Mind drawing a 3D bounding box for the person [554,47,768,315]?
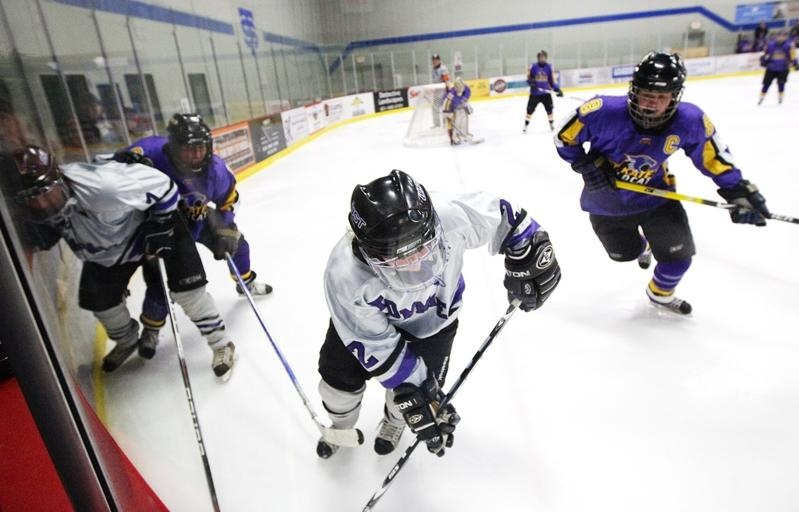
[{"bbox_3d":[1.788,-0.503,4.051,1.356,1.796,0.450,13,30,36],"label":"person"}]

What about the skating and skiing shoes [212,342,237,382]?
[{"bbox_3d":[-1.218,0.752,3.964,0.115,0.127,0.295,-10,43,6],"label":"skating and skiing shoes"}]

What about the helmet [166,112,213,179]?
[{"bbox_3d":[-1.488,-0.804,3.993,0.309,0.373,0.380,-9,25,-39],"label":"helmet"}]

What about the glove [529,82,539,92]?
[{"bbox_3d":[2.235,-2.820,9.475,0.090,0.128,0.209,-13,24,-16],"label":"glove"}]

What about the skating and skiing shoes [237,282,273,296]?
[{"bbox_3d":[-1.188,0.277,4.592,0.176,0.113,0.055,-5,59,-9],"label":"skating and skiing shoes"}]

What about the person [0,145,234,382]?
[{"bbox_3d":[-1.653,0.133,3.425,0.531,1.768,1.124,7,26,26],"label":"person"}]

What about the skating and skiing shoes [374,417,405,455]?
[{"bbox_3d":[-0.064,1.098,3.472,0.109,0.123,0.308,26,73,0],"label":"skating and skiing shoes"}]

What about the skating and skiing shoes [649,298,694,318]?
[{"bbox_3d":[1.997,0.364,4.190,0.319,0.130,0.111,9,45,30],"label":"skating and skiing shoes"}]

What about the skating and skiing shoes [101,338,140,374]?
[{"bbox_3d":[-1.884,0.641,3.812,0.108,0.224,0.328,-30,40,-19],"label":"skating and skiing shoes"}]

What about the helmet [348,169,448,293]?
[{"bbox_3d":[-0.032,-0.141,3.134,0.502,0.558,0.642,-23,42,-8],"label":"helmet"}]

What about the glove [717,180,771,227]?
[{"bbox_3d":[2.375,-0.354,3.859,0.318,0.329,0.130,-57,26,-14],"label":"glove"}]

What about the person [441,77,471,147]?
[{"bbox_3d":[0.950,-2.412,9.452,0.463,1.033,0.601,-3,24,6],"label":"person"}]

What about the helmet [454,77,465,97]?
[{"bbox_3d":[0.968,-2.782,9.364,0.203,0.265,0.272,-9,7,-8],"label":"helmet"}]

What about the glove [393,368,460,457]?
[{"bbox_3d":[0.139,0.875,3.230,0.315,0.493,0.200,-33,-5,-16],"label":"glove"}]

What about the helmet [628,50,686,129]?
[{"bbox_3d":[1.733,-1.117,3.826,0.356,0.487,0.301,1,24,15],"label":"helmet"}]

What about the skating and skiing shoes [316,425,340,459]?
[{"bbox_3d":[-0.467,1.152,3.492,0.130,0.161,0.141,10,12,26],"label":"skating and skiing shoes"}]

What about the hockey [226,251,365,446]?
[{"bbox_3d":[-0.720,0.674,3.796,0.271,0.038,1.592,-17,44,-23],"label":"hockey"}]

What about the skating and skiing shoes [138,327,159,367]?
[{"bbox_3d":[-1.715,0.595,3.846,0.081,0.224,0.240,12,2,-23],"label":"skating and skiing shoes"}]

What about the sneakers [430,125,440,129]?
[{"bbox_3d":[0.646,-2.347,10.309,0.107,0.046,0.143,-12,12,-1],"label":"sneakers"}]
